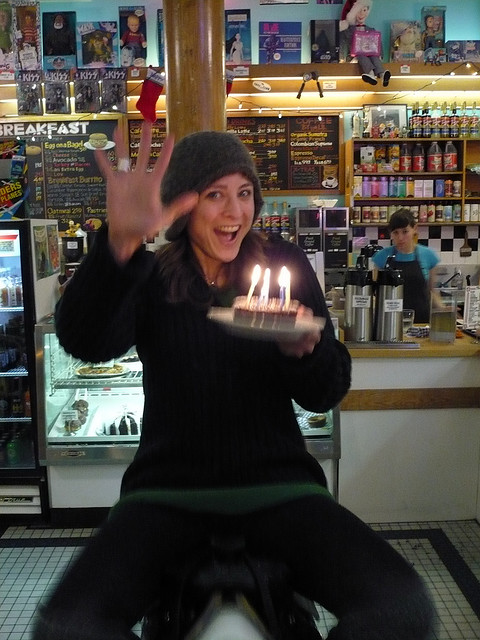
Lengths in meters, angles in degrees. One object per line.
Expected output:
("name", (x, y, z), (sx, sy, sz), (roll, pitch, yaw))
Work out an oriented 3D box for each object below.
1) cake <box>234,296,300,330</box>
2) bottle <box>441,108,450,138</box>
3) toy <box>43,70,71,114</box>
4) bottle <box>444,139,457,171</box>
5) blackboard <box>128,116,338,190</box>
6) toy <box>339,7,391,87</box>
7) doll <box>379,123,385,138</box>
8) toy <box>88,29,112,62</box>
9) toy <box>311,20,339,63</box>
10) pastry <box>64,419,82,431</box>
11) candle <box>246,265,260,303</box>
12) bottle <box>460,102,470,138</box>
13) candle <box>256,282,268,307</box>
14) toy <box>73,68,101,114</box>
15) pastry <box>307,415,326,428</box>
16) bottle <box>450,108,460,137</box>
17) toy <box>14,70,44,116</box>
("cake", (0.048, -0.023, 0.937), (0.116, 0.035, 0.201), (-1, 14, 3))
("bottle", (1.986, -1.872, 4.892), (0.082, 0.210, 0.108), (3, 15, 20))
("toy", (-1.720, -2.148, 4.760), (0.252, 0.384, 0.098), (-6, 14, -14))
("bottle", (2.054, -1.604, 4.930), (0.123, 0.291, 0.165), (4, 15, 24))
("blackboard", (0.014, -1.713, 5.152), (2.220, 1.008, 0.081), (-2, -20, -10))
("toy", (1.189, -2.428, 4.811), (0.434, 0.915, 0.329), (-2, 17, -12))
("doll", (1.384, -1.848, 4.935), (0.049, 0.125, 0.099), (1, 15, 15))
("toy", (-1.403, -2.762, 5.051), (0.213, 0.284, 0.094), (-2, 7, -1))
("toy", (0.821, -2.702, 4.890), (0.266, 0.423, 0.202), (0, 14, 8))
("pastry", (-0.878, 0.552, 2.671), (0.058, 0.022, 0.060), (3, 1, 45))
("candle", (0.031, -0.079, 1.016), (0.017, 0.093, 0.025), (13, -24, 4))
("bottle", (2.222, -1.969, 5.001), (0.087, 0.347, 0.475), (3, 15, 22))
("candle", (0.044, -0.051, 0.963), (0.011, 0.065, 0.007), (12, -12, 23))
("toy", (-1.442, -2.163, 4.753), (0.250, 0.395, 0.125), (-6, 14, -14))
("pastry", (0.380, 0.503, 2.513), (0.086, 0.054, 0.039), (-4, 14, -7))
("bottle", (2.082, -1.876, 4.891), (0.084, 0.207, 0.128), (4, 15, 25))
("toy", (-1.981, -2.150, 4.763), (0.250, 0.410, 0.145), (-8, 15, -21))
